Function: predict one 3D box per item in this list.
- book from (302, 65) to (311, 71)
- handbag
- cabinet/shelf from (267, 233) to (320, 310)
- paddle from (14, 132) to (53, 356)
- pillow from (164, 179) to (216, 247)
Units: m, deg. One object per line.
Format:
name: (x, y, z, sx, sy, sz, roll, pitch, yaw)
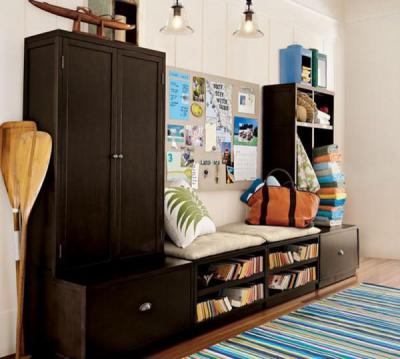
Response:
book: (1.178, -1.239, 4.137, 0.084, 0.037, 0.053, 4, 2, -13)
handbag: (0.751, 0.177, 3.505, 0.535, 0.472, 0.217, 0, -14, 29)
cabinet/shelf: (0.768, 0.780, 3.147, 0.175, 0.501, 0.562, -1, 1, 44)
paddle: (-0.919, 0.365, 2.012, 0.115, 1.253, 0.352, 1, 1, -43)
pillow: (-0.141, 0.249, 2.697, 0.115, 0.395, 0.391, -24, -3, 22)
